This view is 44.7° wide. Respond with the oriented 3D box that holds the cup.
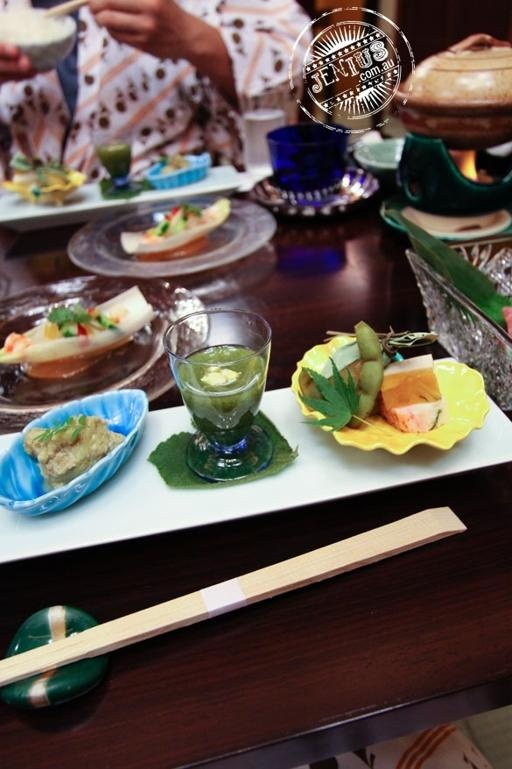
[{"bbox_3d":[0.091,-0.364,1.066,0.111,0.127,0.165,-10,31,0],"label":"cup"}]
